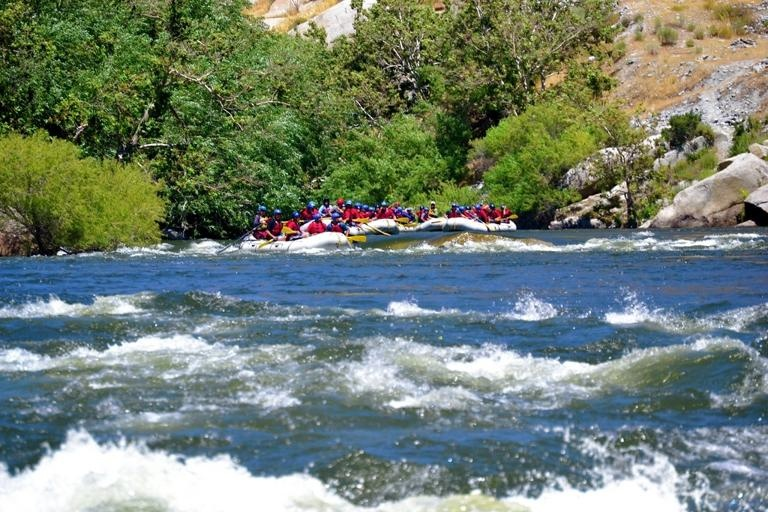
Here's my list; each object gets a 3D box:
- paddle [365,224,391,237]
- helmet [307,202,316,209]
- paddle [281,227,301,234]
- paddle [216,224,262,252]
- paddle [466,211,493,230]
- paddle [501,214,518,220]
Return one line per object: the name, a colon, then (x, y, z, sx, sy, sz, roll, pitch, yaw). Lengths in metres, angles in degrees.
paddle: (-0.379, -1.318, 57.328, 1.850, 0.293, 0.467, 13, 34, 38)
helmet: (-3.414, -2.430, 51.928, 0.346, 0.243, 0.302, -9, -18, -5)
paddle: (-4.316, -1.150, 50.872, 0.511, 0.245, 0.309, 6, -6, -14)
paddle: (-7.342, -0.922, 56.082, 3.333, 0.348, 0.181, -33, -26, 26)
paddle: (5.093, -1.888, 60.150, 1.128, 0.520, 1.667, 3, -4, 7)
paddle: (7.240, -2.288, 64.590, 0.747, 0.307, 0.931, -1, 0, -3)
